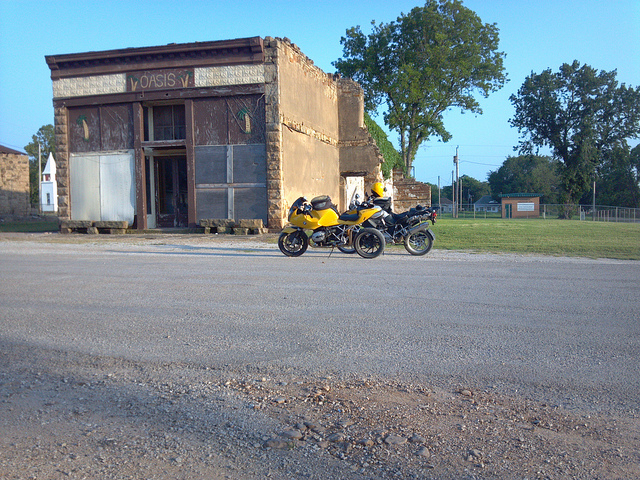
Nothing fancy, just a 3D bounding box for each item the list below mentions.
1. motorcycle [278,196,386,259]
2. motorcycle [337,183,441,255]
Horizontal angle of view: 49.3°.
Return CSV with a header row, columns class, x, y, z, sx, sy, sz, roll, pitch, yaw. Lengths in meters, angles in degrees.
class,x,y,z,sx,sy,sz,roll,pitch,yaw
motorcycle,0.278,-0.244,15.986,2.440,1.728,1.170,2,-1,7
motorcycle,1.497,-0.402,15.895,2.189,1.646,1.089,1,12,7
